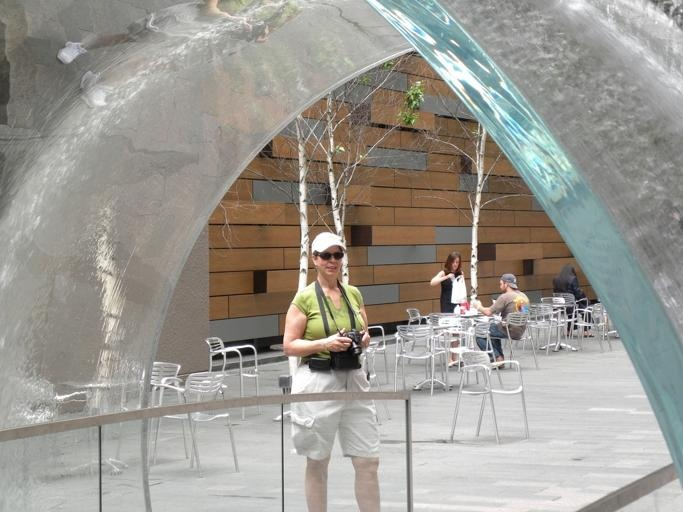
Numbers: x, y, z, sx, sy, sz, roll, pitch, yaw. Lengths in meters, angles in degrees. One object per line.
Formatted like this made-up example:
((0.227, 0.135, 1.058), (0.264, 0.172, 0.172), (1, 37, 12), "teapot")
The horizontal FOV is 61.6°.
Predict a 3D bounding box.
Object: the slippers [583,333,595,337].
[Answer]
((8.353, 2.648, 19.478), (0.238, 0.079, 0.226), (0, -6, -5), "slippers")

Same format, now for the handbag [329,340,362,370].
((0.044, 0.752, 4.402), (0.205, 0.205, 0.250), (-2, -4, 13), "handbag")

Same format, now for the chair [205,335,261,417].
((-2.377, 2.536, 12.622), (1.192, 1.473, 1.068), (-9, -18, -18), "chair")

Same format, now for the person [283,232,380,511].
((-0.096, 0.855, 4.528), (0.708, 2.083, 0.698), (-1, -1, -6), "person")

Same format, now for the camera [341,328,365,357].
((0.112, 0.655, 4.368), (0.128, 0.163, 0.211), (-8, -2, 25), "camera")
